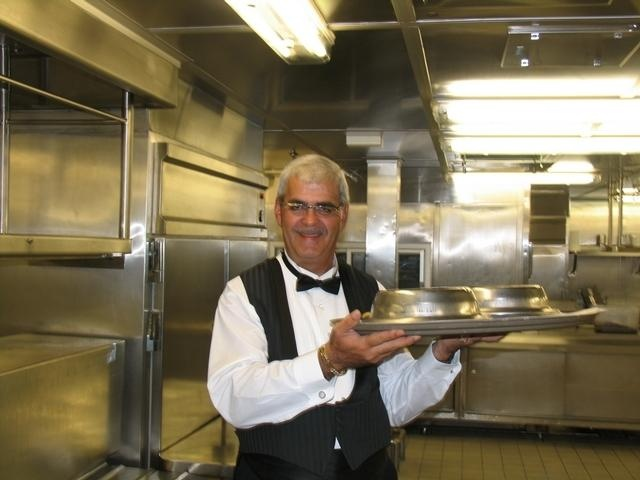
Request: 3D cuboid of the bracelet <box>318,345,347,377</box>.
[{"bbox_3d":[0.027,0.406,1.674,0.101,0.040,0.083,42,-6,-11],"label":"bracelet"}]
